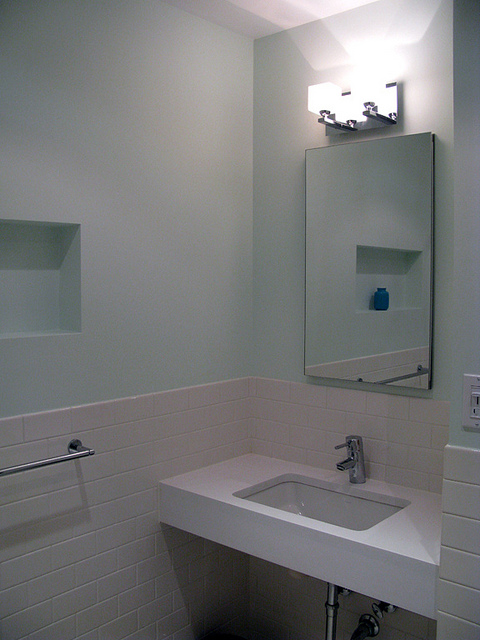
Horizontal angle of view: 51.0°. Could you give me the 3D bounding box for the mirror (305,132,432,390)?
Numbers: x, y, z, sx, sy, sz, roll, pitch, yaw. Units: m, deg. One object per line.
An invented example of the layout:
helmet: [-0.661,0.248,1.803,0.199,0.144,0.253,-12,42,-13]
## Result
mirror: [0.455,-0.218,1.889,0.069,0.908,0.543,-7,8,-44]
